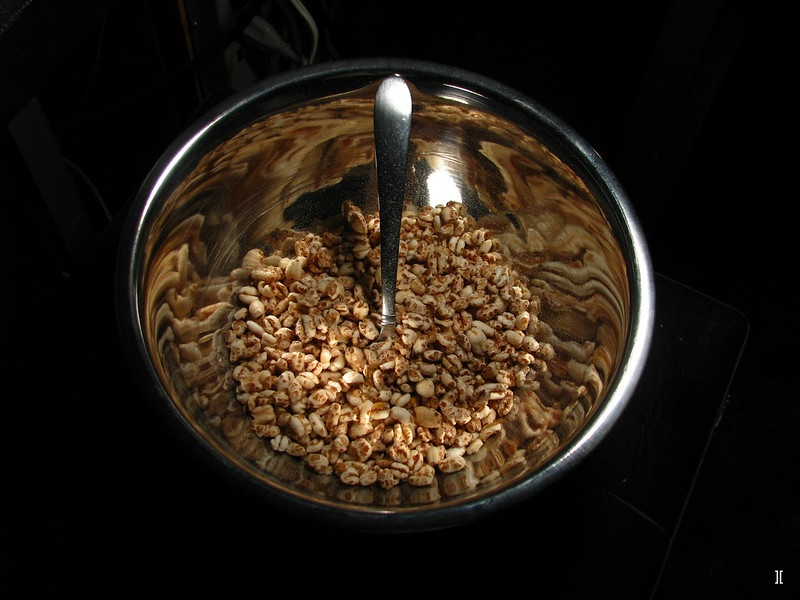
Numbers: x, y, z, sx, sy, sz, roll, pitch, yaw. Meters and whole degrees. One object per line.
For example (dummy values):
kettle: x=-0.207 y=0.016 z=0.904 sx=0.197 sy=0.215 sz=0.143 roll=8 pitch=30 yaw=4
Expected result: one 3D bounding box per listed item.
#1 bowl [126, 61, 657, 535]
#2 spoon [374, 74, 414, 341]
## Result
bowl: x=-0.014 y=0.003 z=0.989 sx=0.692 sy=0.279 sz=0.643 roll=2 pitch=62 yaw=-4
spoon: x=-0.016 y=-0.144 z=1.008 sx=0.048 sy=0.342 sz=0.027 roll=1 pitch=23 yaw=1
